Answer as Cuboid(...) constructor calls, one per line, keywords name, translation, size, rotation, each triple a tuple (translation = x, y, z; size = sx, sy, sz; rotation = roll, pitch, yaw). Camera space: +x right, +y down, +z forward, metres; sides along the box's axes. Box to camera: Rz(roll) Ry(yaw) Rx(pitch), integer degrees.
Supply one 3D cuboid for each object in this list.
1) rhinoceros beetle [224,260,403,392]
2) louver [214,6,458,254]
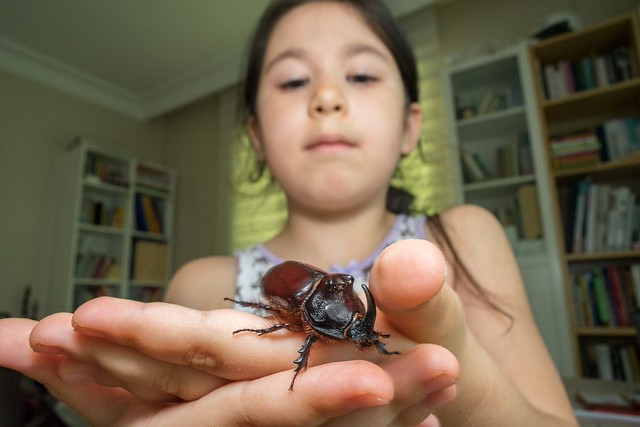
Cuboid(name="rhinoceros beetle", translation=(0.005, 0.114, 0.607), size=(0.169, 0.070, 0.154), rotation=(-8, 28, -30))
Cuboid(name="louver", translation=(0.031, -0.126, 0.710), size=(0.356, 0.505, 0.005), rotation=(-1, 1, 22))
